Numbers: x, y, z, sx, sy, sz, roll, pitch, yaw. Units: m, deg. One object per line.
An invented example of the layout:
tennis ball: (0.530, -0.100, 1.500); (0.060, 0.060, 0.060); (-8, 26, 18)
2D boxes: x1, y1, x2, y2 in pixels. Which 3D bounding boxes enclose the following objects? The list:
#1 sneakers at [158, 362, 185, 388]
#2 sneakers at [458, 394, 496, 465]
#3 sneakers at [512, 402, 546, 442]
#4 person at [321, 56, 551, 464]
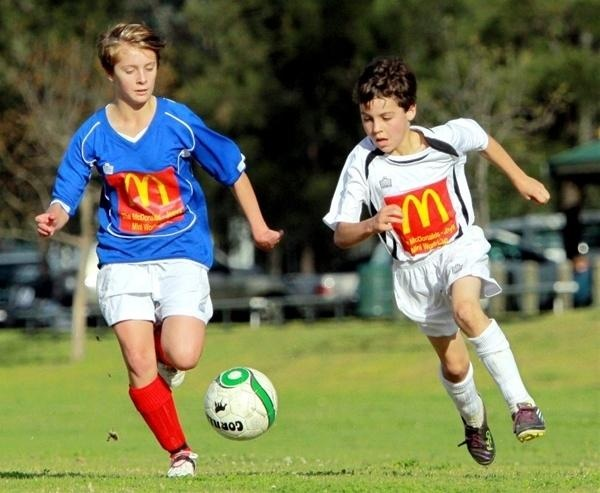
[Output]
sneakers: (-1.034, 1.047, 8.336); (0.201, 0.212, 0.199); (1, -3, -15)
sneakers: (1.451, 1.548, 8.603); (0.193, 0.604, 0.236); (-22, -12, 28)
sneakers: (1.696, 1.335, 7.683); (0.223, 0.261, 0.287); (-4, 1, 11)
person: (1.056, 0.176, 8.044); (1.515, 2.977, 1.089); (-4, 1, 2)
